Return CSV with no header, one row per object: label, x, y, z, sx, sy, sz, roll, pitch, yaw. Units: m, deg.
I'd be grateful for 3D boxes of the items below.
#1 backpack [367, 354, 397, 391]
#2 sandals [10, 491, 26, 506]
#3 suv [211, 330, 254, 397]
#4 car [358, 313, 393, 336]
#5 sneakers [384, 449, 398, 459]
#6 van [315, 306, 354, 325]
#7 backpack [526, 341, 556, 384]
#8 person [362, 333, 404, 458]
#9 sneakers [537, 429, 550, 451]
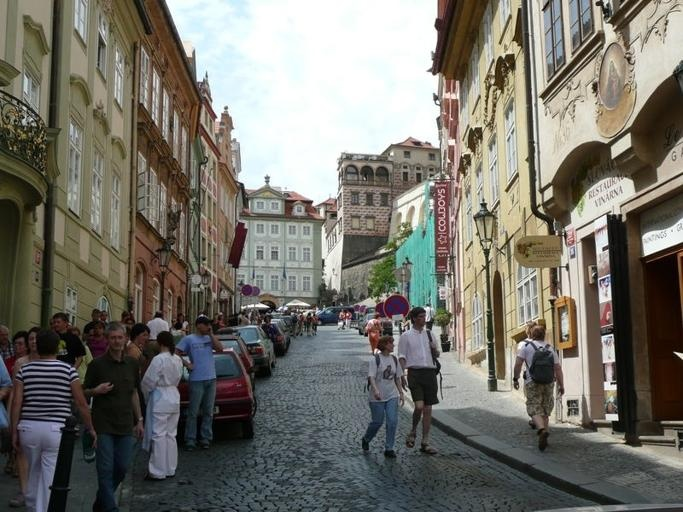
backpack,0.731,1.963,12.086,0.519,0.749,0.383,3,3,-1
sandals,-3.975,3.002,9.005,0.108,0.167,0.354,1,-8,-4
suv,-2.435,2.411,16.193,1.030,1.262,2.344,-1,-11,-1
car,2.133,4.270,46.190,1.470,1.362,3.326,0,-1,-7
sneakers,0.768,3.151,11.546,0.219,0.117,0.238,-3,-12,13
van,-1.101,5.846,70.754,2.771,1.570,1.687,2,-3,-1
backpack,3.453,1.859,12.688,0.419,0.769,0.729,0,-13,14
person,0.693,2.328,12.270,0.679,2.020,1.337,-1,-11,2
sneakers,3.199,2.887,11.503,0.136,0.461,0.183,-1,6,-6
